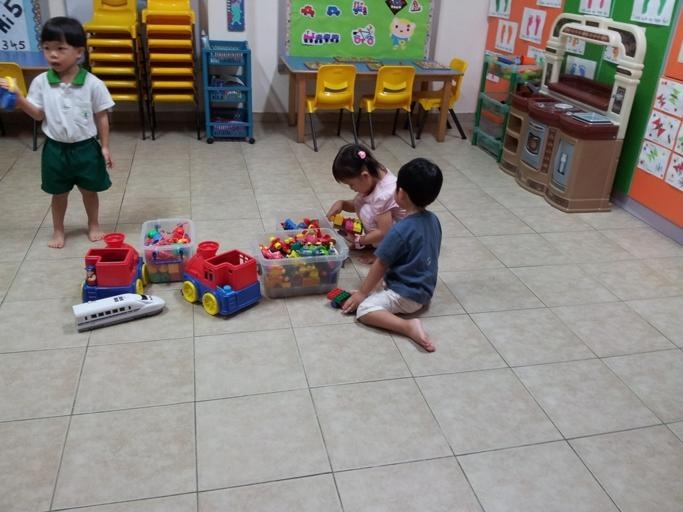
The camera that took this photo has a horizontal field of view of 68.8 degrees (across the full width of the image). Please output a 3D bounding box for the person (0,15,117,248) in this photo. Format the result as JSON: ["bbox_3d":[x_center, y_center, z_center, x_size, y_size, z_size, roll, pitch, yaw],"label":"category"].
[{"bbox_3d":[-1.696,-0.746,3.135,0.533,1.357,0.285,-10,29,-22],"label":"person"}]

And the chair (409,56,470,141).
[{"bbox_3d":[1.240,-1.801,5.925,0.658,0.784,0.660,6,17,37],"label":"chair"}]

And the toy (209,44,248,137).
[{"bbox_3d":[-1.214,-1.761,5.333,0.529,0.962,0.716,-3,27,-9],"label":"toy"}]

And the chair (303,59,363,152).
[{"bbox_3d":[-0.116,-1.631,5.327,0.588,0.803,0.608,2,26,2],"label":"chair"}]

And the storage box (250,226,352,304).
[{"bbox_3d":[-0.232,0.039,2.938,0.498,0.225,0.382,-7,32,-9],"label":"storage box"}]

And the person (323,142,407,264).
[{"bbox_3d":[0.189,-0.330,3.213,0.494,0.746,0.517,-9,28,-17],"label":"person"}]
